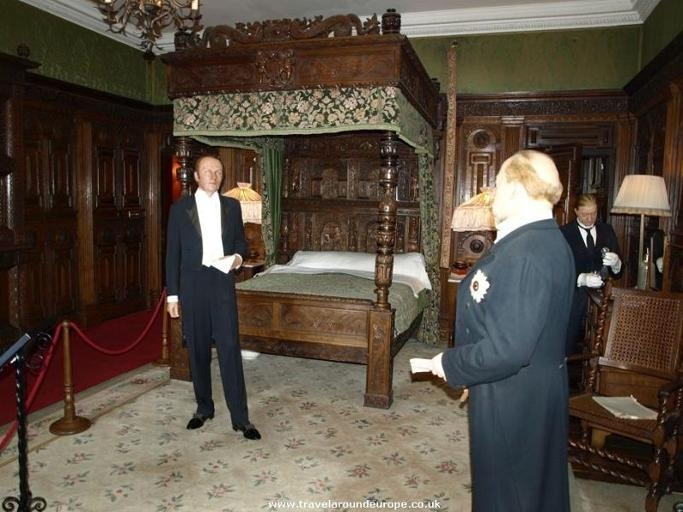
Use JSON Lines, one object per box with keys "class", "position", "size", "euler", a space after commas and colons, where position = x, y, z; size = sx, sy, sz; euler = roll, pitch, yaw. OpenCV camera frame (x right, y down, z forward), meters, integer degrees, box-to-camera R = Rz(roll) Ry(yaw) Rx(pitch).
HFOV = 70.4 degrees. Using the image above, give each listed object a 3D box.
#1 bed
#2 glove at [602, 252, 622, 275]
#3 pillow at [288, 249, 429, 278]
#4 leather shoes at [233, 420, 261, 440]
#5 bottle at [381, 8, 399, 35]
{"class": "bed", "position": [-0.178, 0.766, 5.496], "size": [1.803, 1.478, 2.340], "euler": [2, 7, 23]}
{"class": "glove", "position": [2.873, 0.078, 5.133], "size": [0.198, 0.097, 0.276], "euler": [16, -19, 36]}
{"class": "pillow", "position": [0.290, 0.103, 7.557], "size": [1.277, 0.250, 0.820], "euler": [4, 6, 12]}
{"class": "leather shoes", "position": [-0.884, 1.612, 4.537], "size": [0.280, 0.118, 0.119], "euler": [5, 4, 35]}
{"class": "bottle", "position": [0.508, -2.357, 4.881], "size": [0.166, 0.317, 0.342], "euler": [2, 9, 9]}
